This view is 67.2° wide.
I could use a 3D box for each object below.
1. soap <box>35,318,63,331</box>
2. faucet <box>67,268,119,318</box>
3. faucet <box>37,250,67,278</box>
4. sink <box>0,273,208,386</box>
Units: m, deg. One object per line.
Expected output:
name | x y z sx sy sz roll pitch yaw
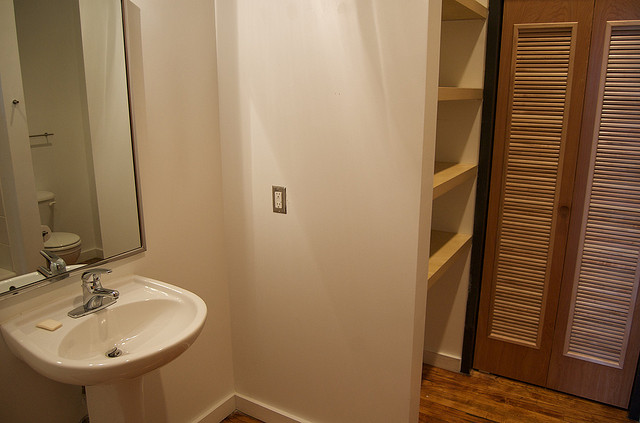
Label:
soap | -1.215 0.502 2.178 0.056 0.015 0.063 16 8 17
faucet | -1.048 0.372 2.313 0.198 0.195 0.260 6 10 23
faucet | -1.252 0.255 2.263 0.119 0.130 0.086 30 20 19
sink | -0.952 0.536 2.195 0.773 0.278 0.610 -14 22 -40
